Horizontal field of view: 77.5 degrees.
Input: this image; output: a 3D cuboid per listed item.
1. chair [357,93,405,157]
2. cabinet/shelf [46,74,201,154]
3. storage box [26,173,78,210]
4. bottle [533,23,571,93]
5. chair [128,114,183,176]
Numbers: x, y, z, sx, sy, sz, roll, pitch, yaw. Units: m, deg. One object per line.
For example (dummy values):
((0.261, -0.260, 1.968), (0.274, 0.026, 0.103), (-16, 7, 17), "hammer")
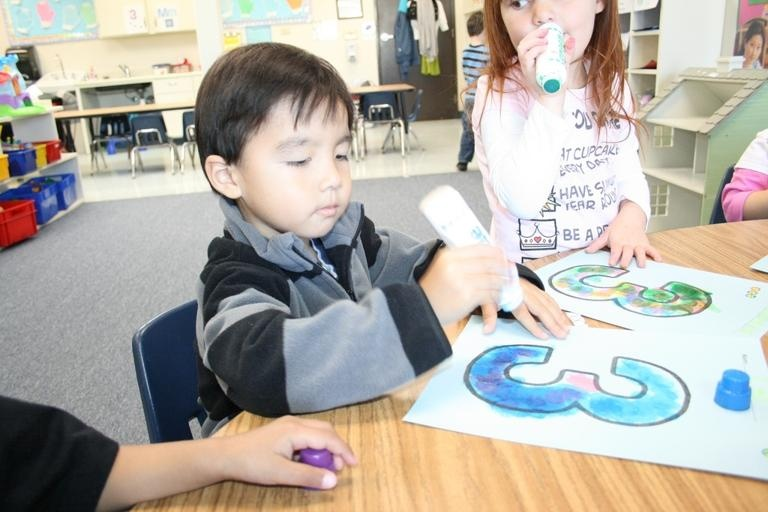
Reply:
((-0.054, -1.797, 6.426), (0.522, 0.921, 0.625), (-5, 26, -3), "chair")
((-3.679, -2.021, 6.780), (2.342, 0.581, 1.589), (-2, 39, 2), "cabinet/shelf")
((-3.100, -0.625, 4.637), (0.420, 0.312, 0.319), (2, 14, 7), "storage box")
((0.352, -0.401, 1.042), (0.056, 0.051, 0.135), (5, 44, 4), "bottle")
((-2.951, -1.434, 6.117), (0.482, 0.741, 0.534), (-10, 23, -24), "chair")
